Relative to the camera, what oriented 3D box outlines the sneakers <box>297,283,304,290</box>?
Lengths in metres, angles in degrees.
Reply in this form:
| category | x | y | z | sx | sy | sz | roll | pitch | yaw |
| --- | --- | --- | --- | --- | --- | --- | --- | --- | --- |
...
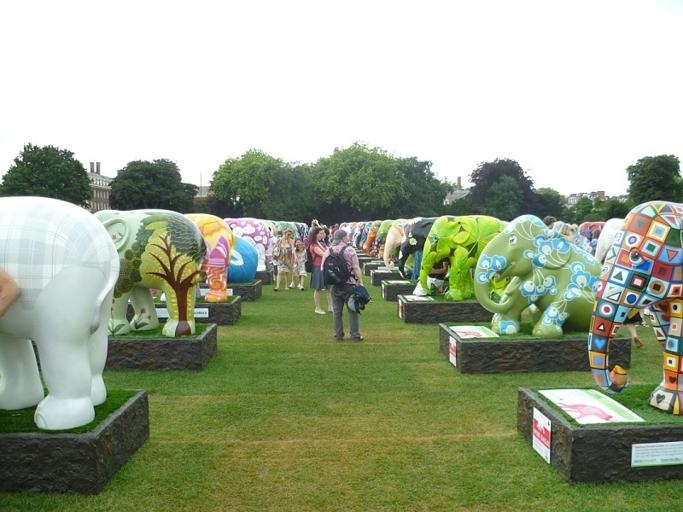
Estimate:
| category | x | y | z | sx | sy | sz | roll | pitch | yaw |
| --- | --- | --- | --- | --- | --- | --- | --- | --- | --- |
| sneakers | -1.189 | 0.856 | 16.274 | 0.145 | 0.196 | 0.444 | 0 | -5 | -7 |

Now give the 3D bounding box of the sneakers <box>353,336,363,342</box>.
| category | x | y | z | sx | sy | sz | roll | pitch | yaw |
| --- | --- | --- | --- | --- | --- | --- | --- | --- | --- |
| sneakers | 0.243 | 1.286 | 8.946 | 0.180 | 0.082 | 0.069 | -2 | 14 | 6 |

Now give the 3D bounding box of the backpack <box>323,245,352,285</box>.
| category | x | y | z | sx | sy | sz | roll | pitch | yaw |
| --- | --- | --- | --- | --- | --- | --- | --- | --- | --- |
| backpack | -0.144 | 0.112 | 8.842 | 0.367 | 0.556 | 0.307 | 8 | 37 | 8 |
